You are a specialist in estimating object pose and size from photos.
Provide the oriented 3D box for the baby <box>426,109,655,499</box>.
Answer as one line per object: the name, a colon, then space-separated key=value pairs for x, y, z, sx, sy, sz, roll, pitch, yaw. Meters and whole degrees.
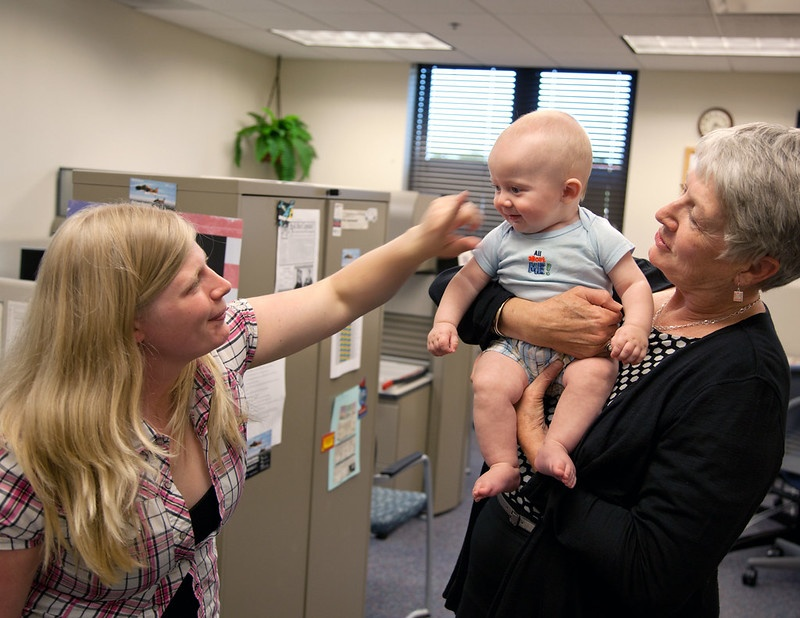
baby: x=0.309 y=-0.025 z=1.366 sx=0.460 sy=0.831 sz=0.408 roll=-2 pitch=-3 yaw=37

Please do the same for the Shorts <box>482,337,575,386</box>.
Shorts: x=0.277 y=0.100 z=1.359 sx=0.114 sy=0.046 sz=0.113 roll=9 pitch=24 yaw=20

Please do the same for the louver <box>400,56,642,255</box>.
louver: x=1.326 y=-1.727 z=6.752 sx=2.344 sy=1.775 sz=0.095 roll=12 pitch=30 yaw=28

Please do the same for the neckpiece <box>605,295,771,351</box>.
neckpiece: x=0.591 y=0.024 z=1.206 sx=0.246 sy=0.062 sz=0.141 roll=-16 pitch=13 yaw=-29
